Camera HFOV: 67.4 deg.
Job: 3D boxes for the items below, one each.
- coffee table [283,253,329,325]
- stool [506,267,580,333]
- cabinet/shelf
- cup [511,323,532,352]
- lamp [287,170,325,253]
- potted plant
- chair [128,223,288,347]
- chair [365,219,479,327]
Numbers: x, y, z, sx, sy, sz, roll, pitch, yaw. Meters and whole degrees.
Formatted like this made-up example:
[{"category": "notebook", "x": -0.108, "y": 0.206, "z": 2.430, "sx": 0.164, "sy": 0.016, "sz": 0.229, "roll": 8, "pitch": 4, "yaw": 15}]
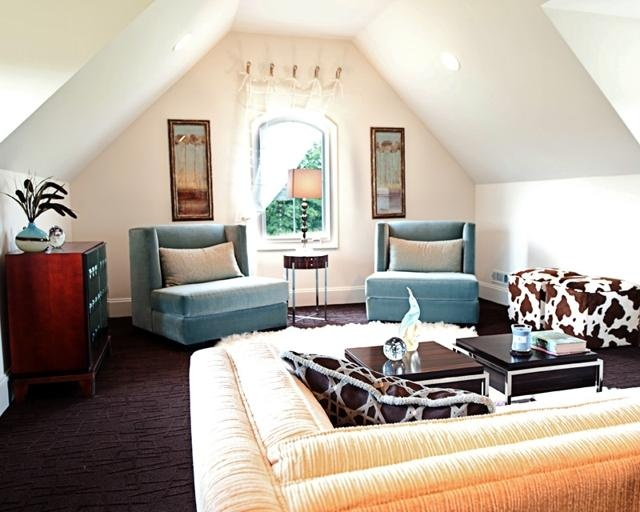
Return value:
[{"category": "coffee table", "x": -0.142, "y": 0.310, "z": 4.865, "sx": 0.397, "sy": 0.682, "sz": 0.418, "roll": -1, "pitch": 3, "yaw": 4}, {"category": "stool", "x": 2.007, "y": 0.339, "z": 4.328, "sx": 0.547, "sy": 0.524, "sz": 0.559, "roll": 2, "pitch": 3, "yaw": 28}, {"category": "cabinet/shelf", "x": -1.614, "y": 0.424, "z": 2.938, "sx": 0.312, "sy": 0.691, "sz": 0.886, "roll": -2, "pitch": 4, "yaw": -13}, {"category": "cup", "x": 1.075, "y": 0.450, "z": 2.636, "sx": 0.126, "sy": 0.146, "sz": 0.127, "roll": 0, "pitch": -5, "yaw": 0}, {"category": "lamp", "x": -0.156, "y": -0.503, "z": 5.129, "sx": 0.348, "sy": 0.857, "sz": 0.654, "roll": -3, "pitch": 9, "yaw": -3}, {"category": "potted plant", "x": -2.027, "y": -0.326, "z": 3.459, "sx": 0.383, "sy": 0.490, "sz": 1.296, "roll": -8, "pitch": 11, "yaw": -30}, {"category": "chair", "x": -1.014, "y": 0.198, "z": 4.362, "sx": 1.204, "sy": 1.038, "sz": 1.247, "roll": 0, "pitch": 3, "yaw": 30}, {"category": "chair", "x": 0.957, "y": 0.176, "z": 4.760, "sx": 1.009, "sy": 1.112, "sz": 1.017, "roll": 0, "pitch": -3, "yaw": 9}]
